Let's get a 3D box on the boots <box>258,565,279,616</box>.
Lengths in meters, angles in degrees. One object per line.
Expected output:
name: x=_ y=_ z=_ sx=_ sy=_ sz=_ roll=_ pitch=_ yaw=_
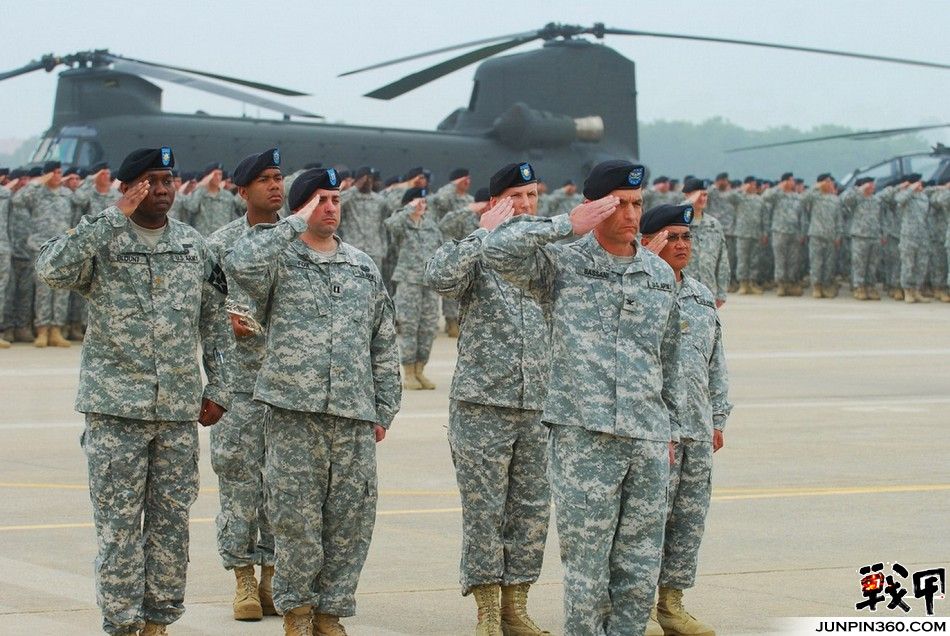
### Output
boots: x=-1.453 y=1.853 z=11.046 sx=0.154 sy=0.273 sz=0.324 roll=0 pitch=19 yaw=-16

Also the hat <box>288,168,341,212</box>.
hat: x=-1.128 y=-0.865 z=10.657 sx=0.356 sy=0.101 sz=0.305 roll=-27 pitch=-9 yaw=36

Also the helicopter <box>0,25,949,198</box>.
helicopter: x=-0.473 y=-2.472 z=21.633 sx=7.225 sy=1.496 sz=5.272 roll=1 pitch=0 yaw=-40

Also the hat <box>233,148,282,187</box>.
hat: x=-1.489 y=-1.035 z=10.976 sx=0.321 sy=0.108 sz=0.293 roll=-18 pitch=-1 yaw=33

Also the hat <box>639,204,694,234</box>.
hat: x=1.333 y=-0.666 z=11.013 sx=0.292 sy=0.075 sz=0.263 roll=-9 pitch=0 yaw=42

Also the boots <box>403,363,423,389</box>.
boots: x=-0.665 y=0.628 z=16.944 sx=0.196 sy=0.261 sz=0.176 roll=-3 pitch=16 yaw=-13
